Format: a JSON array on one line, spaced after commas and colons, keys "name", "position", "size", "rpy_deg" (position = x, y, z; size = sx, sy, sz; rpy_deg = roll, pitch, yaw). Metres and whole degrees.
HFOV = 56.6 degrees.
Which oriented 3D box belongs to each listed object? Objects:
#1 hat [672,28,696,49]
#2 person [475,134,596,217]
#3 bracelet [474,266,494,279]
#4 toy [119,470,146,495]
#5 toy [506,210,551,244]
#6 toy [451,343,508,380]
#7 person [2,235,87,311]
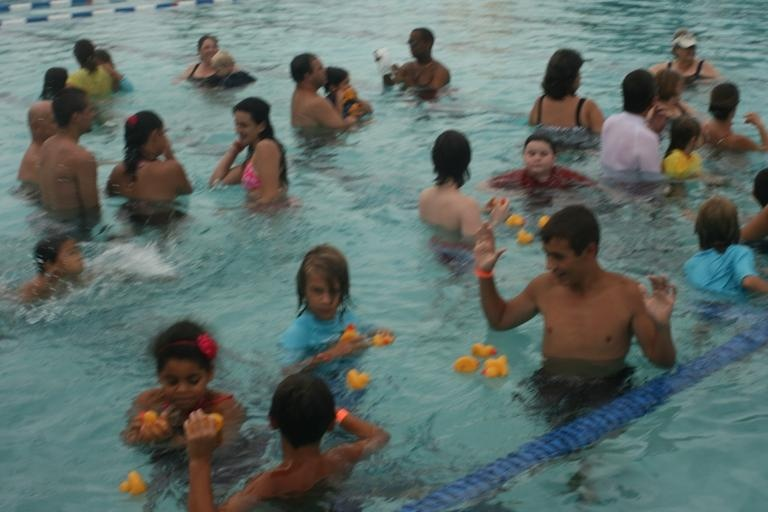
[{"name": "hat", "position": [4.966, -3.596, 11.839], "size": [0.338, 0.229, 0.461], "rpy_deg": [-5, 11, -2]}, {"name": "person", "position": [2.009, -1.112, 9.127], "size": [1.498, 0.824, 0.576], "rpy_deg": [0, 5, 13]}, {"name": "bracelet", "position": [0.948, 0.158, 6.787], "size": [0.119, 0.074, 0.117], "rpy_deg": [10, 19, 24]}, {"name": "toy", "position": [-2.121, 1.895, 5.981], "size": [0.217, 0.132, 0.241], "rpy_deg": [-12, 29, -26]}, {"name": "toy", "position": [1.681, -0.333, 8.587], "size": [0.427, 0.147, 0.414], "rpy_deg": [7, 39, 33]}, {"name": "toy", "position": [0.954, 1.017, 6.845], "size": [0.355, 0.124, 0.337], "rpy_deg": [-11, 22, -30]}, {"name": "person", "position": [-3.686, 0.168, 7.893], "size": [0.685, 0.323, 0.861], "rpy_deg": [12, 40, 28]}]
